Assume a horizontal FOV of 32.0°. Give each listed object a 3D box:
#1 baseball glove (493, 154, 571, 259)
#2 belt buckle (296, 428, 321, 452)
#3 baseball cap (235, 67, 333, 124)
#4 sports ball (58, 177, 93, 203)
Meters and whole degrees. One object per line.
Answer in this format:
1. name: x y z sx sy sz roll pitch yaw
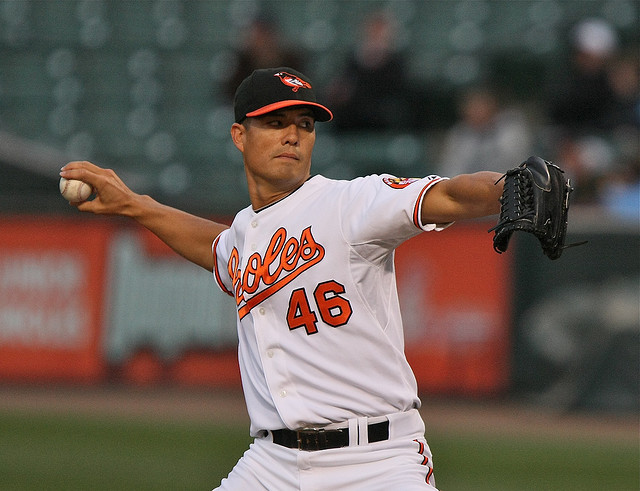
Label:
1. baseball glove: 1.090 -0.179 5.682 0.364 0.491 0.214 -3 0 11
2. belt buckle: -0.065 1.091 6.232 0.124 0.123 0.127 -3 -7 13
3. baseball cap: -0.222 -0.877 6.522 0.574 0.318 0.269 1 1 1
4. sports ball: -1.542 -0.348 7.117 0.166 0.166 0.166 16 36 -12
